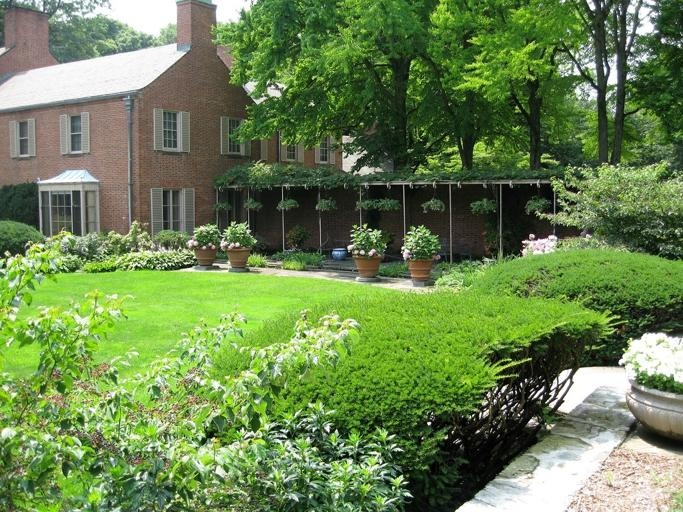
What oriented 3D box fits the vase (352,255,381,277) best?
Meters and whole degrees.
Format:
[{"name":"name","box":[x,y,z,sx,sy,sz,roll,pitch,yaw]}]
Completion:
[{"name":"vase","box":[0.657,0.272,16.729,0.560,0.395,0.562,0,-2,-2]}]

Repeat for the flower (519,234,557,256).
[{"name":"flower","box":[4.261,-0.244,14.496,0.622,0.337,0.618,-5,2,31]}]

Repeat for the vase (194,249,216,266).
[{"name":"vase","box":[-3.860,0.022,18.907,0.504,0.393,0.521,1,3,33]}]

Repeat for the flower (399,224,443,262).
[{"name":"flower","box":[1.896,-0.270,15.714,0.847,0.861,0.831,4,9,29]}]

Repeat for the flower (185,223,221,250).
[{"name":"flower","box":[-3.958,-0.535,18.993,0.785,0.767,0.920,9,10,38]}]

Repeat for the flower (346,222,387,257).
[{"name":"flower","box":[0.601,-0.374,16.673,0.798,0.776,0.778,-3,2,-39]}]

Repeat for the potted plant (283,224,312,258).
[{"name":"potted plant","box":[-1.624,-0.561,23.898,0.944,1.188,1.122,1,7,11]}]

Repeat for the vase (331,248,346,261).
[{"name":"vase","box":[-0.112,-0.052,22.171,0.397,0.287,0.410,-1,0,41]}]

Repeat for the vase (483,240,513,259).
[{"name":"vase","box":[4.707,-0.135,20.817,0.824,0.498,0.810,-1,2,-21]}]

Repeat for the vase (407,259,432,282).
[{"name":"vase","box":[1.823,0.328,15.585,0.513,0.378,0.507,0,-1,-15]}]

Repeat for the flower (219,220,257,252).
[{"name":"flower","box":[-2.926,-0.526,18.574,0.876,1.009,1.011,2,5,34]}]

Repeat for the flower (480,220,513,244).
[{"name":"flower","box":[4.927,-0.753,20.877,0.701,0.485,0.715,-2,10,7]}]

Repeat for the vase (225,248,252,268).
[{"name":"vase","box":[-2.869,0.050,18.388,0.560,0.425,0.579,0,2,34]}]
